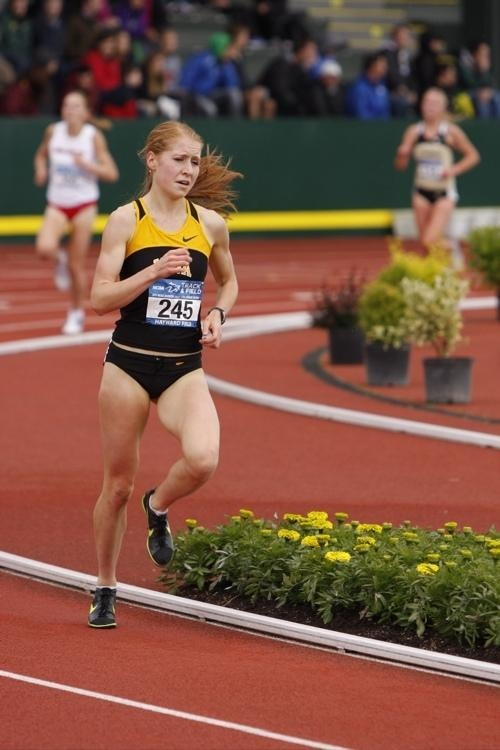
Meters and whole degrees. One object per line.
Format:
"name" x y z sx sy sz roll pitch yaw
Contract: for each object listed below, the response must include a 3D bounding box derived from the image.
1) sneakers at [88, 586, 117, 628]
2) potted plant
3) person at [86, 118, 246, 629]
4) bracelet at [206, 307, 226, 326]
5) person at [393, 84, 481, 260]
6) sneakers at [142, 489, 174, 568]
"sneakers" -0.523 0.835 2.837 0.072 0.076 0.196 4 -1 -8
"potted plant" 0.706 -0.292 4.000 0.892 0.503 0.819 1 15 2
"person" -0.288 0.021 2.736 0.531 1.782 0.816 1 -1 -6
"bracelet" -0.113 -0.213 2.810 0.079 0.076 0.030 -2 10 26
"person" 0.879 -0.967 3.807 0.289 0.741 0.295 1 -1 -24
"sneakers" -0.320 0.522 2.806 0.114 0.290 0.128 -7 -11 -8
